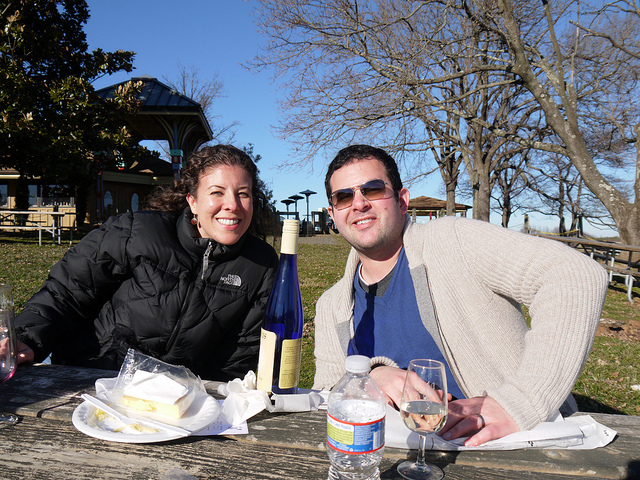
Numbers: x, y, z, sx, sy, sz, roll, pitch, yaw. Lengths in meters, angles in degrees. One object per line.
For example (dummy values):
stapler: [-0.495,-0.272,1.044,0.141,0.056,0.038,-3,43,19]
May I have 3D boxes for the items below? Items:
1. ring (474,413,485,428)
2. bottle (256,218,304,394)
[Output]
ring: [0.690,0.767,2.063,0.012,0.050,0.049,-13,28,-11]
bottle: [-0.171,0.304,2.416,0.241,0.851,0.257,2,-7,0]
